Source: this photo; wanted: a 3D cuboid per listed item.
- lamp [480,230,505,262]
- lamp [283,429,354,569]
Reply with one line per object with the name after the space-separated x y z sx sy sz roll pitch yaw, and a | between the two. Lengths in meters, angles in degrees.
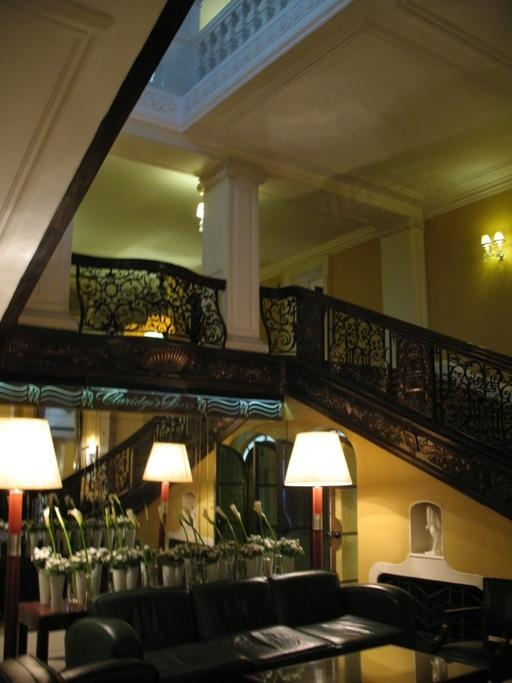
3.145 -1.238 8.624 0.209 0.422 0.375 4 -8 -42 | lamp
0.530 1.411 5.519 0.501 1.264 1.684 -1 -6 5 | lamp
